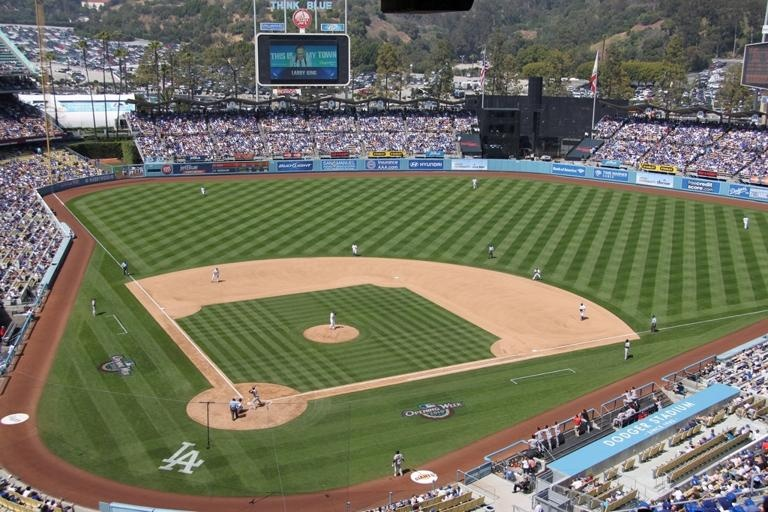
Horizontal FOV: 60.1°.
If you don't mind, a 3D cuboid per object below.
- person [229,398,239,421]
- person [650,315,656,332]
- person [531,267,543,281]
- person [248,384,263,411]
[{"bbox_3d":[-10.323,10.590,46.088,0.895,1.155,0.326,6,2,16],"label":"person"},{"bbox_3d":[23.450,5.924,57.663,0.637,1.383,0.636,-6,39,10],"label":"person"},{"bbox_3d":[15.634,1.923,67.665,0.883,0.580,1.151,38,9,-4],"label":"person"},{"bbox_3d":[-9.254,10.082,47.414,1.069,0.956,1.499,2,44,-21],"label":"person"}]
